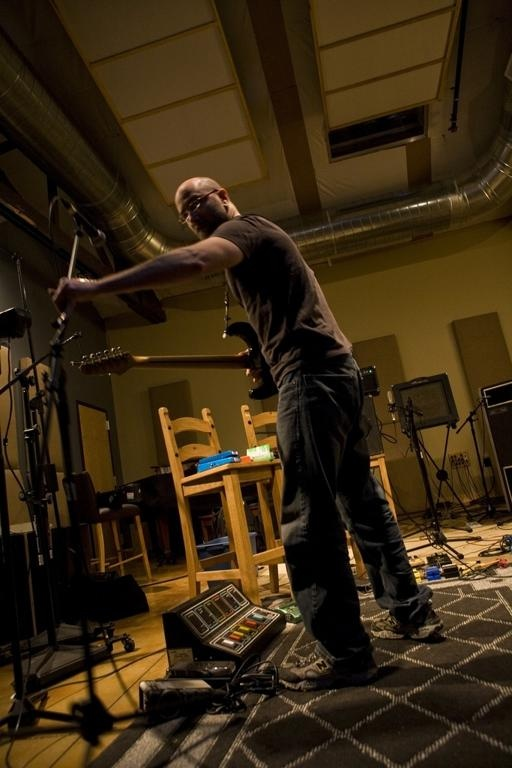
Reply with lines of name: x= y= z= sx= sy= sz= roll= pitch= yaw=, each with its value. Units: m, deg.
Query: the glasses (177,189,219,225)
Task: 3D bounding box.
glasses: x=-0.171 y=-0.545 z=1.548 sx=0.103 sy=0.030 sz=0.105 roll=-37 pitch=15 yaw=47

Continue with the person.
person: x=-0.083 y=0.103 z=1.524 sx=0.719 sy=1.460 sz=0.966 roll=-21 pitch=-17 yaw=40

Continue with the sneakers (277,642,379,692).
sneakers: x=0.167 y=0.756 z=1.380 sx=0.315 sy=0.154 sz=0.119 roll=-6 pitch=-23 yaw=13
